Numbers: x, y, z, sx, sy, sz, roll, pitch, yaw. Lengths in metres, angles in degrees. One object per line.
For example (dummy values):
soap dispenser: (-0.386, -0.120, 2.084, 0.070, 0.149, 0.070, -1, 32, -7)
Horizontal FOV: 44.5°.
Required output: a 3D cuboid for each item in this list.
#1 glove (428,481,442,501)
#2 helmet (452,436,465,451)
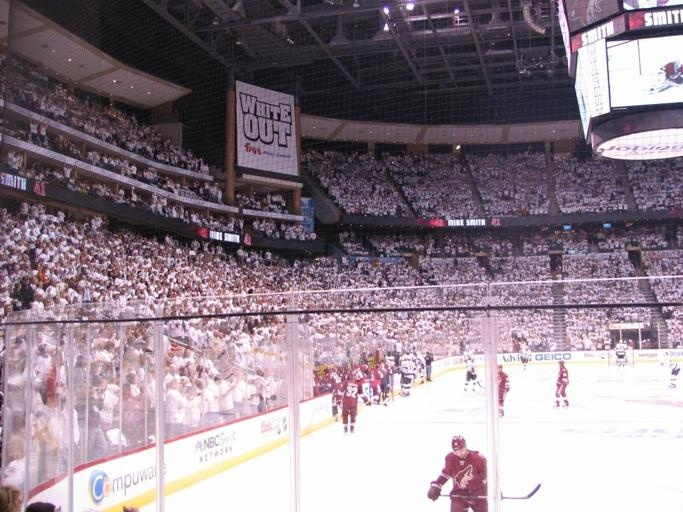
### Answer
glove: (1.450, 3.684, 13.105, 0.203, 0.287, 0.270, 1, -18, 7)
helmet: (1.826, 2.918, 13.039, 0.159, 0.219, 0.222, -1, 6, 20)
